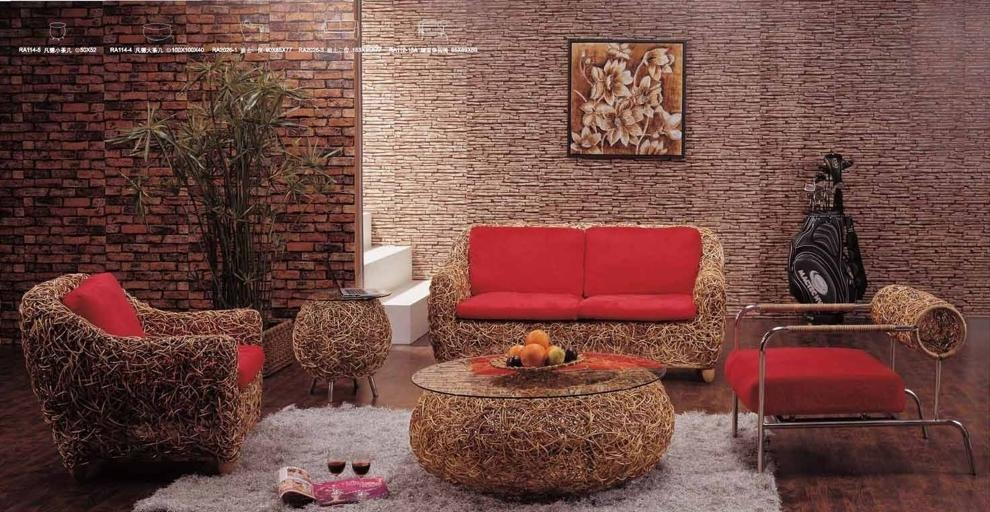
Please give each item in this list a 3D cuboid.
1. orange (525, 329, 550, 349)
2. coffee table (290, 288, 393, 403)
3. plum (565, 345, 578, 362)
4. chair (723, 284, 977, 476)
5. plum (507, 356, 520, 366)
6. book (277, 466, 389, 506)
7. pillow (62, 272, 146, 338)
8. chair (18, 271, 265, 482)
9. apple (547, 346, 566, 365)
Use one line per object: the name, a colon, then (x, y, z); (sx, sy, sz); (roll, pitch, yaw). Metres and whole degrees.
orange: (0.349, 0.674, 6.261); (0.171, 0.135, 0.153); (-3, 8, -5)
coffee table: (-1.453, 0.879, 7.359); (0.888, 1.000, 0.355); (-5, 14, -13)
plum: (0.625, 0.810, 6.259); (0.121, 0.111, 0.108); (0, 6, 5)
chair: (2.896, 0.962, 6.774); (2.178, 1.276, 1.502); (0, 0, 6)
plum: (0.153, 0.847, 6.135); (0.087, 0.087, 0.087); (-4, 7, 41)
book: (-1.265, 1.832, 6.009); (0.576, 0.109, 0.380); (-3, 2, -7)
pillow: (-3.152, 0.422, 6.460); (0.526, 0.495, 0.116); (24, 48, -9)
chair: (-3.025, 0.933, 6.706); (1.942, 1.211, 1.455); (5, 7, 1)
apple: (0.480, 0.800, 6.178); (0.158, 0.128, 0.146); (-4, 7, -45)
